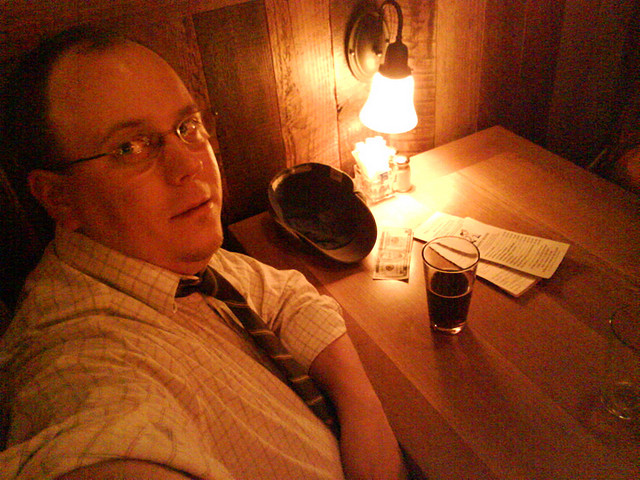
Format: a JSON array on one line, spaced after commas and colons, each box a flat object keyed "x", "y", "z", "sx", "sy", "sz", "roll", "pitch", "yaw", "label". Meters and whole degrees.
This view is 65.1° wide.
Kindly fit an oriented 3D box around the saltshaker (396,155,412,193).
[{"x": 0.259, "y": -0.206, "z": 1.543, "sx": 0.048, "sy": 0.090, "sz": 0.100, "roll": 0, "pitch": 33, "yaw": 8, "label": "saltshaker"}]

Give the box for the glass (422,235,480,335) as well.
[{"x": 0.288, "y": 0.092, "z": 1.119, "sx": 0.116, "sy": 0.165, "sz": 0.183, "roll": 2, "pitch": 33, "yaw": 11, "label": "glass"}]

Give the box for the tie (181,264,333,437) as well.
[{"x": -0.124, "y": 0.222, "z": 0.969, "sx": 0.417, "sy": 0.090, "sz": 0.177, "roll": 45, "pitch": 12, "yaw": 10, "label": "tie"}]
